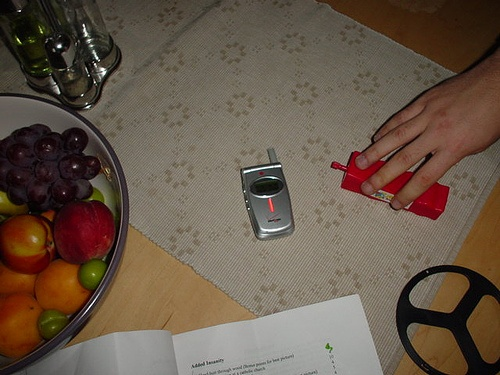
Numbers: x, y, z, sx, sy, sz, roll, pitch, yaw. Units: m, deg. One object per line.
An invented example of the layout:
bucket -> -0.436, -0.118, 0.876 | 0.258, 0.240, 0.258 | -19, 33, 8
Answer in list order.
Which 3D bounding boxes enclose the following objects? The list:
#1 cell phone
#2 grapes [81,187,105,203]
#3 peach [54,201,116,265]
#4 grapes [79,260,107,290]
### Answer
cell phone -> 0.036, 0.028, 0.842 | 0.095, 0.038, 0.157 | -14, 66, -6
grapes -> -0.299, 0.012, 0.769 | 0.024, 0.026, 0.032 | -15, 95, -3
peach -> -0.290, 0.079, 0.759 | 0.095, 0.115, 0.106 | -9, 30, -12
grapes -> -0.281, 0.156, 0.723 | 0.053, 0.054, 0.060 | 0, 79, -8
